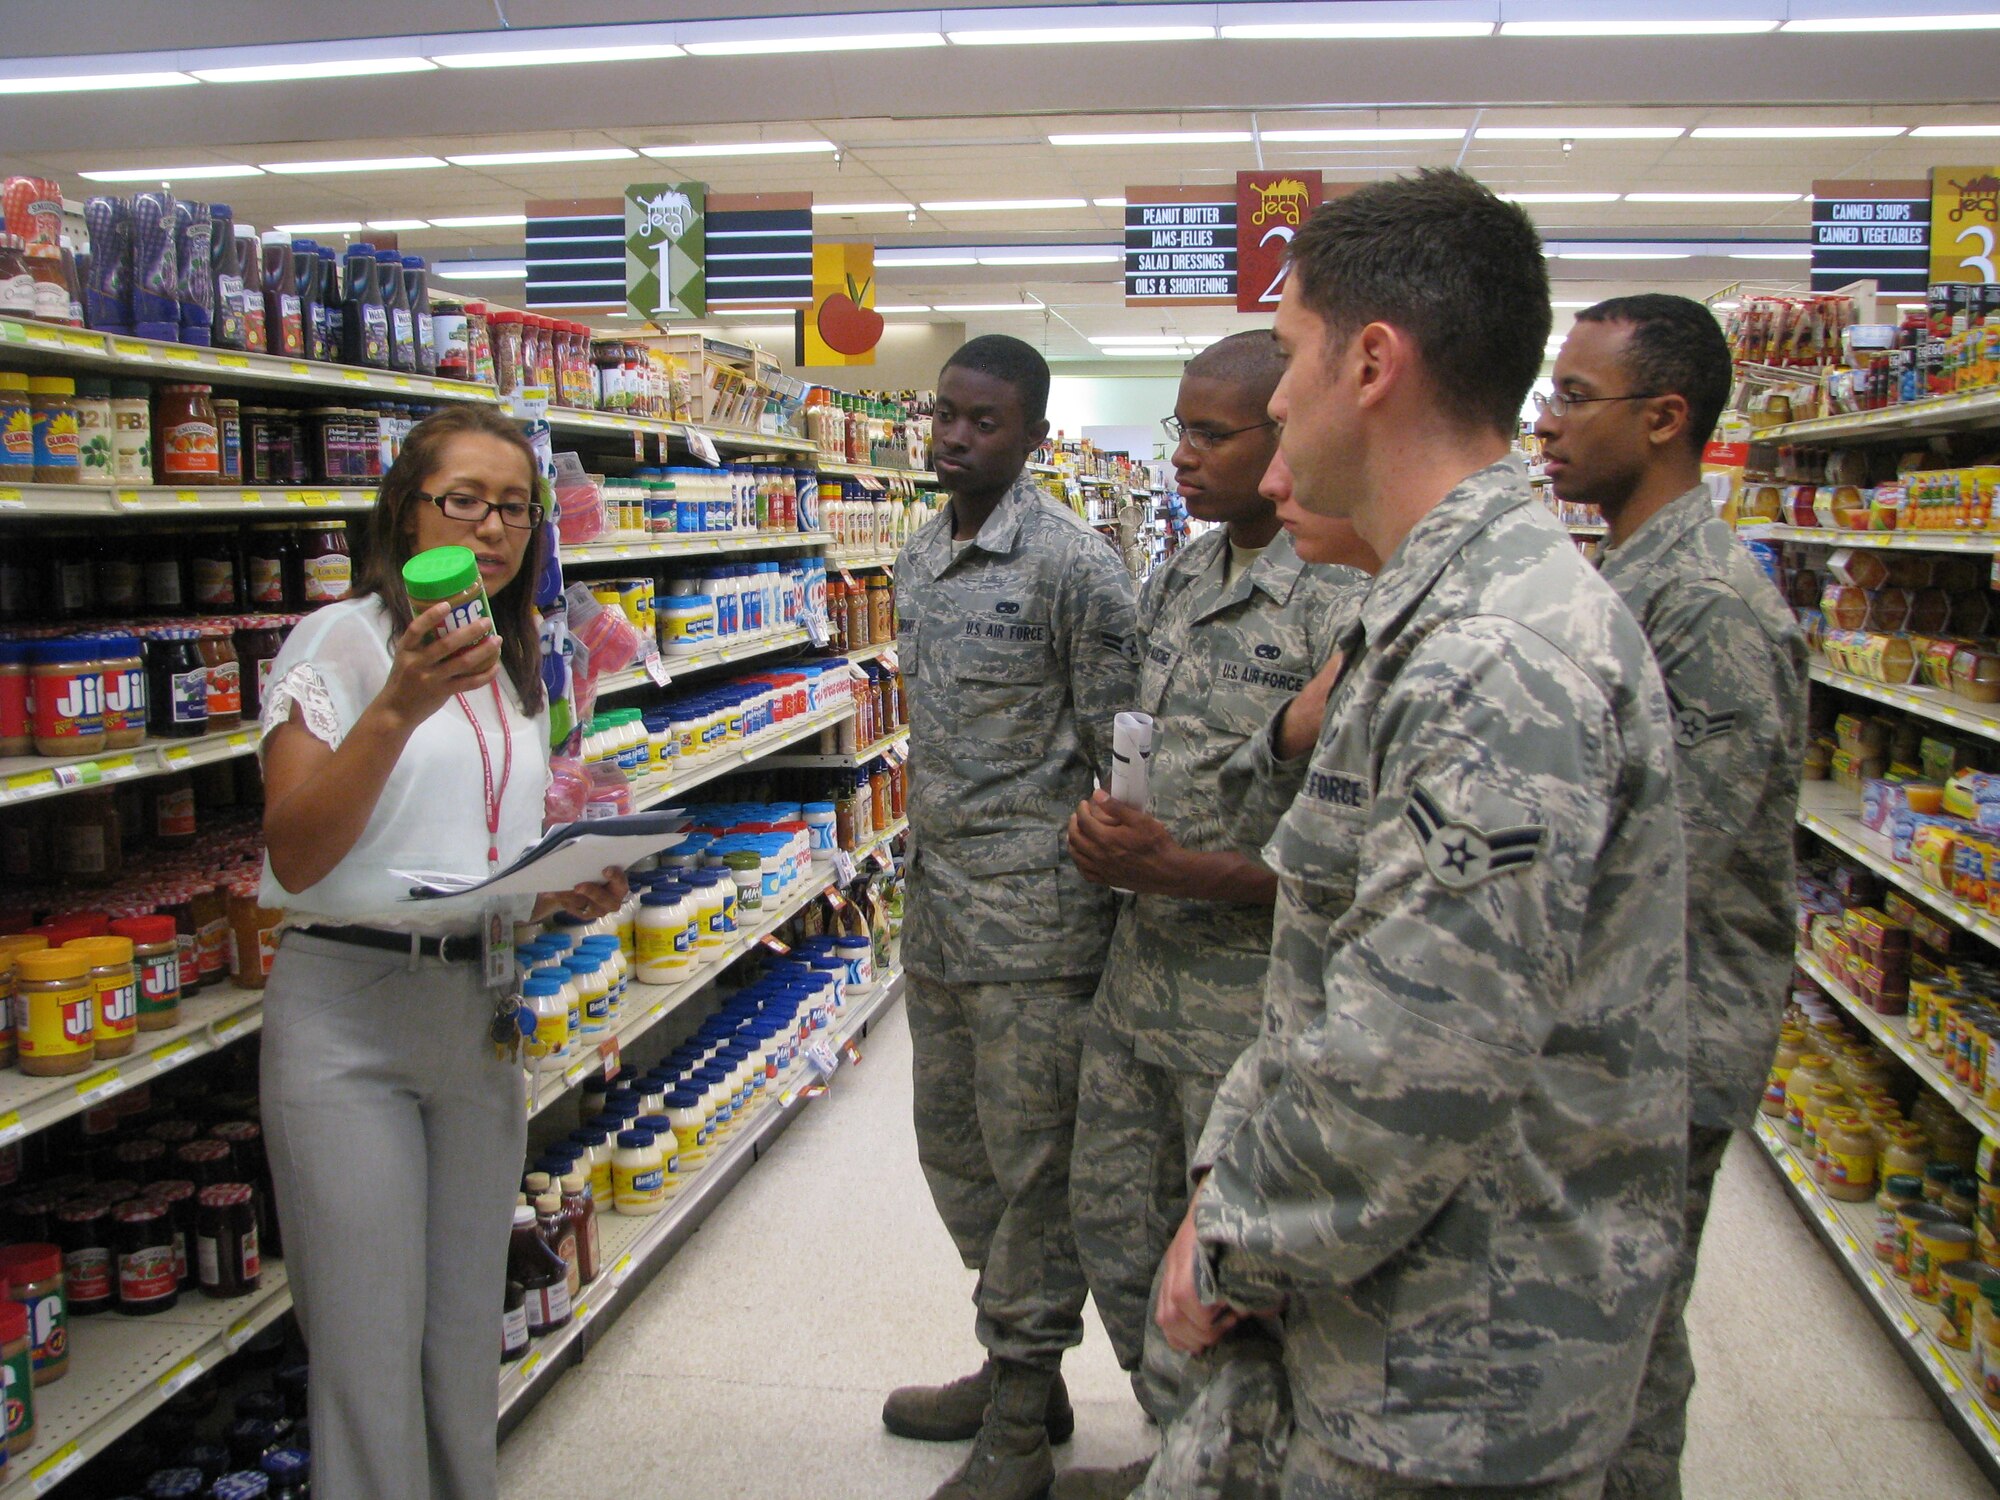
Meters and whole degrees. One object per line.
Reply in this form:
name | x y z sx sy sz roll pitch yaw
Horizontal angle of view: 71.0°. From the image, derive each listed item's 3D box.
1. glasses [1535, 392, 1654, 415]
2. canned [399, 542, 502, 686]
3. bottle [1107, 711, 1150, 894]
glasses | 1.144 -0.665 2.666 0.108 0.029 0.100 4 10 4
canned | -0.840 -0.213 2.150 0.142 0.147 0.142 25 47 35
bottle | 0.240 0.023 2.551 0.068 0.170 0.127 1 13 4
